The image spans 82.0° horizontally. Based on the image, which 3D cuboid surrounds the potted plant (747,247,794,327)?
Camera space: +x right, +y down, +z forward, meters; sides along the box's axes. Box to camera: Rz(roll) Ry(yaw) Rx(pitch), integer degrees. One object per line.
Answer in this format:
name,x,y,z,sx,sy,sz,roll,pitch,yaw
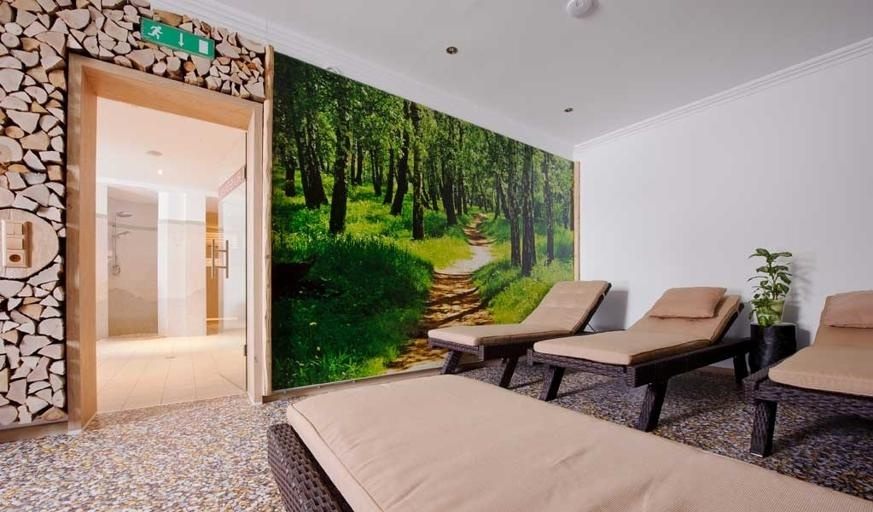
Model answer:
potted plant,3.859,0.383,5.755,0.443,0.683,0.457,5,-6,-44
